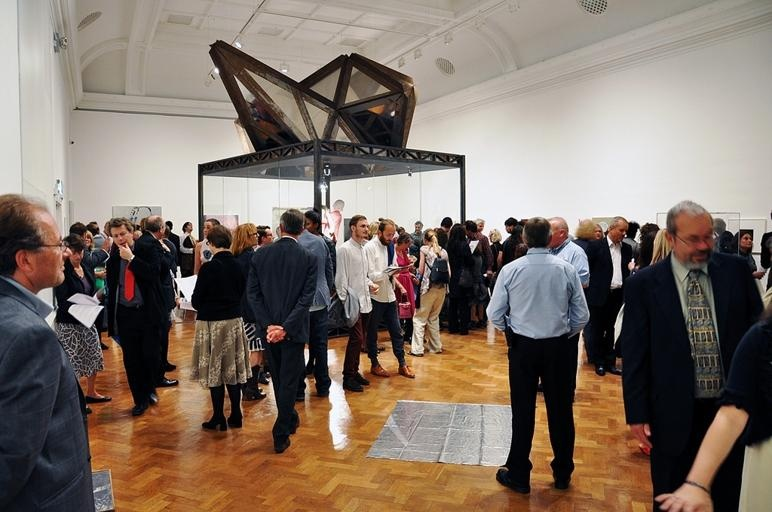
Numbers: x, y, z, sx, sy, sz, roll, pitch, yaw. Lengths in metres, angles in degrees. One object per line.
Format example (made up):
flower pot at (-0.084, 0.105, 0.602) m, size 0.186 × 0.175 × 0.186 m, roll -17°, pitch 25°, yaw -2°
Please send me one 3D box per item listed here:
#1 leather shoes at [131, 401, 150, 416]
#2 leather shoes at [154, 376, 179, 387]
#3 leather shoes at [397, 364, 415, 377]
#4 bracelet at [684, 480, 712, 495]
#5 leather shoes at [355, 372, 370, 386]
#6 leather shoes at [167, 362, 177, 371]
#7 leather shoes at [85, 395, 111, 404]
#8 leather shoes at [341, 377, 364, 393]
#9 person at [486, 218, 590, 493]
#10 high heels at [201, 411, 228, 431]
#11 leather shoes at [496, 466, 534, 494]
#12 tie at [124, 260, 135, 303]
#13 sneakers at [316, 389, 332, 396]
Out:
leather shoes at (-2.732, 1.666, 5.838) m, size 0.171 × 0.111 × 0.287 m, roll -3°, pitch 9°, yaw -14°
leather shoes at (-2.767, 1.589, 6.670) m, size 0.288 × 0.119 × 0.096 m, roll -1°, pitch 2°, yaw -26°
leather shoes at (0.260, 1.488, 6.867) m, size 0.100 × 0.108 × 0.242 m, roll 0°, pitch -3°, yaw -30°
bracelet at (1.442, 1.070, 2.461) m, size 0.093 × 0.055 × 0.061 m, roll 4°, pitch 9°, yaw 30°
leather shoes at (-0.307, 1.522, 6.541) m, size 0.091 × 0.098 × 0.228 m, roll 3°, pitch -5°, yaw -42°
leather shoes at (-2.934, 1.522, 7.261) m, size 0.063 × 0.090 × 0.130 m, roll 3°, pitch 4°, yaw 45°
leather shoes at (-3.338, 1.662, 6.171) m, size 0.302 × 0.122 × 0.100 m, roll 0°, pitch 0°, yaw -25°
leather shoes at (-0.404, 1.555, 6.385) m, size 0.133 × 0.092 × 0.228 m, roll 0°, pitch 0°, yaw -44°
person at (1.277, 0.802, 4.411) m, size 0.801 × 2.206 × 0.477 m, roll -2°, pitch 8°, yaw -9°
high heels at (-1.801, 1.715, 5.529) m, size 0.319 × 0.230 × 0.127 m, roll 3°, pitch 0°, yaw 9°
leather shoes at (1.064, 1.848, 4.407) m, size 0.120 × 0.135 × 0.303 m, roll -4°, pitch 10°, yaw -33°
tie at (-2.732, 0.285, 5.633) m, size 0.112 × 0.400 × 0.101 m, roll -2°, pitch 8°, yaw -8°
sneakers at (-0.743, 1.612, 6.237) m, size 0.112 × 0.116 × 0.071 m, roll -1°, pitch -12°, yaw 12°
